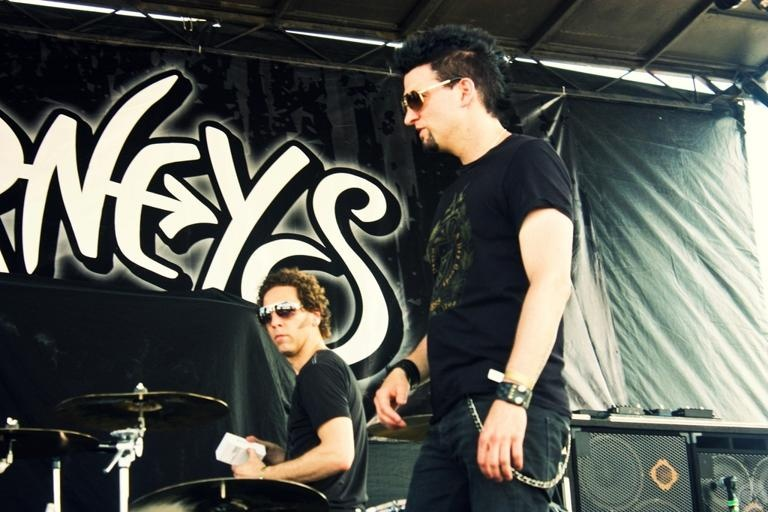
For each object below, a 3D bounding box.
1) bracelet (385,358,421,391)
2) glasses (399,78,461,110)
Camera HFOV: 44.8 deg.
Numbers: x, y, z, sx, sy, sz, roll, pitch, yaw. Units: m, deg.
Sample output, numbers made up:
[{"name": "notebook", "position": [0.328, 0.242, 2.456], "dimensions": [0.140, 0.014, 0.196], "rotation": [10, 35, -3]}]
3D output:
[{"name": "bracelet", "position": [0.136, 0.682, 5.529], "dimensions": [0.155, 0.124, 0.189], "rotation": [-6, -44, 36]}, {"name": "glasses", "position": [0.272, -0.965, 5.536], "dimensions": [0.269, 0.081, 0.197], "rotation": [-24, -5, -11]}]
